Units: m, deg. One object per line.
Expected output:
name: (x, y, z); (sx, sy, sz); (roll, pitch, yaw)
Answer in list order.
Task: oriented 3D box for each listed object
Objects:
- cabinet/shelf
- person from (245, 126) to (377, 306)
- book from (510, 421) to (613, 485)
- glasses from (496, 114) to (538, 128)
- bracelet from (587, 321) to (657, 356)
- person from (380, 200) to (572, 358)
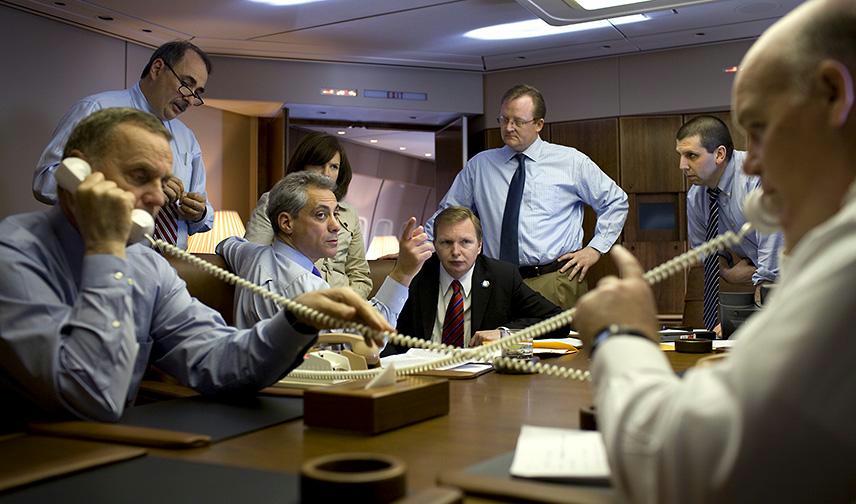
cabinet/shelf: (1.782, -0.918, 5.398); (1.575, 0.780, 0.446); (-1, -4, 8)
person: (-0.801, -0.165, 3.947); (0.907, 1.295, 0.727); (6, -6, -34)
book: (0.298, 0.440, 1.314); (0.233, 0.031, 0.244); (-6, 10, 0)
glasses: (0.715, -1.052, 4.722); (0.327, 0.098, 0.194); (0, 2, 17)
bracelet: (0.326, 0.142, 1.028); (0.071, 0.019, 0.074); (12, 1, 3)
person: (0.166, 0.238, 3.637); (1.402, 0.920, 0.644); (-3, 7, 15)
